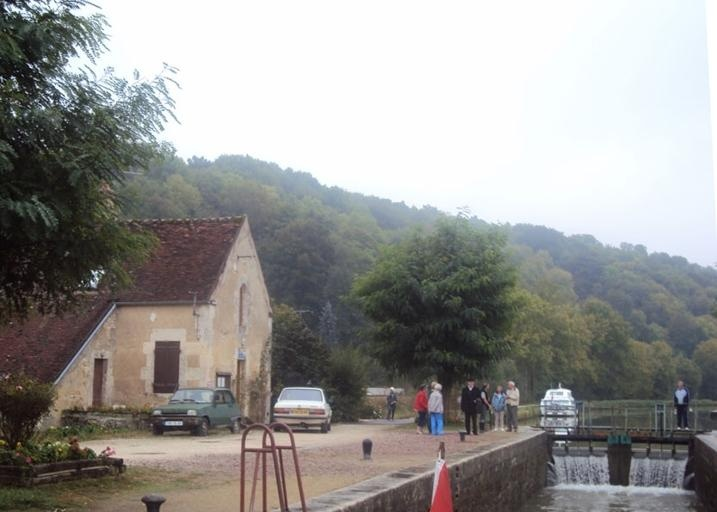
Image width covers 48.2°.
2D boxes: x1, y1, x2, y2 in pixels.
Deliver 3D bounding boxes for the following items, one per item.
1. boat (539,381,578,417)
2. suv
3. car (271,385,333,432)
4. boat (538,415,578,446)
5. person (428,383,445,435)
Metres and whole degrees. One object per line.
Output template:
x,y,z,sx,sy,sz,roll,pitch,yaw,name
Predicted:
12.268,8.946,49.258,1.342,1.970,4.721,-2,-12,14,boat
-5.981,5.762,29.949,1.591,1.952,3.535,-6,-17,27,suv
-2.249,6.533,32.345,2.048,1.816,4.080,1,-5,8,car
9.715,8.452,38.931,1.908,0.595,2.334,1,12,7,boat
2.899,5.680,29.959,0.557,1.932,1.619,1,-14,3,person
